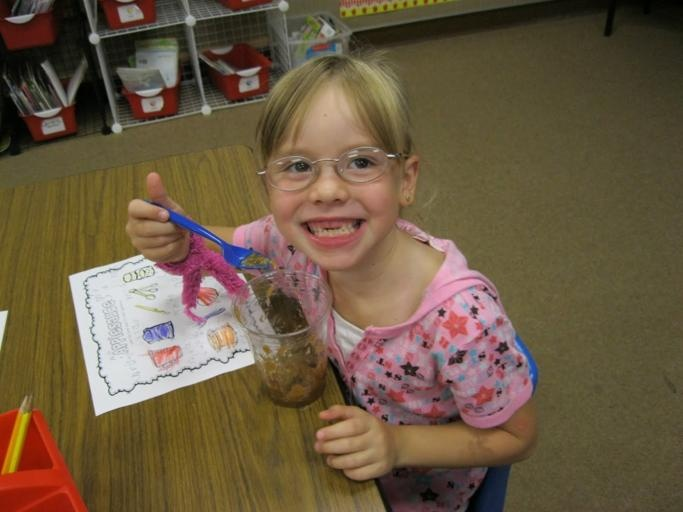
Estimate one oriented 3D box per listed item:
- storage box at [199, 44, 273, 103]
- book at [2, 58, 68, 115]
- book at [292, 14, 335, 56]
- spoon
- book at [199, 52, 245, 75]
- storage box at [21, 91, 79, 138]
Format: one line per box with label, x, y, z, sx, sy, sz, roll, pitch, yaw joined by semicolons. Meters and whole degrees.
storage box;-0.634;-1.091;3.307;0.343;0.200;0.466;-19;46;-12
book;-1.664;-0.939;2.913;0.257;0.214;0.387;-25;45;-24
book;-0.190;-1.320;3.240;0.289;0.100;0.259;6;83;24
spoon;-0.280;-0.039;1.117;0.204;0.031;0.043;35;43;-10
book;-0.715;-1.171;3.272;0.142;0.036;0.197;-31;62;-36
storage box;-1.569;-0.746;2.933;0.233;0.162;0.191;-17;36;-8
